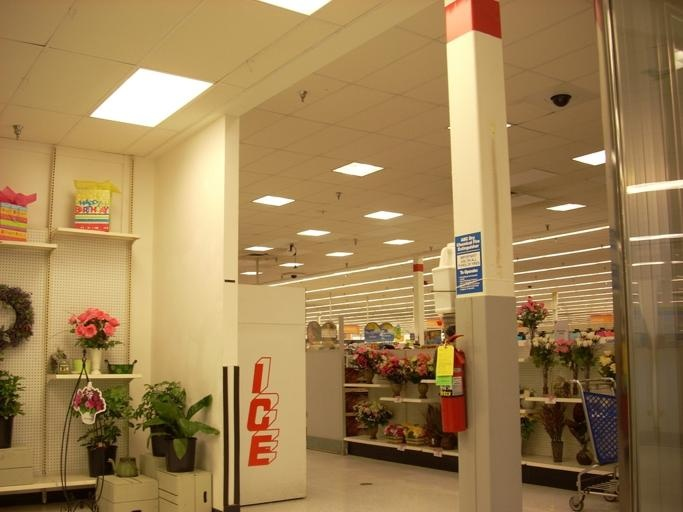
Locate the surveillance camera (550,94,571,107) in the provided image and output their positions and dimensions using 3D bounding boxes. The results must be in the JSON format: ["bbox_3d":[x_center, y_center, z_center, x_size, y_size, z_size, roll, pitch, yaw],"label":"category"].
[{"bbox_3d":[2.720,-1.904,6.625,0.155,0.055,0.152,1,-9,-4],"label":"surveillance camera"}]

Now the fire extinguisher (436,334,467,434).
[{"bbox_3d":[0.699,0.792,3.398,0.196,0.594,0.188,0,-16,6],"label":"fire extinguisher"}]

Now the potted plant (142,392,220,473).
[{"bbox_3d":[-1.659,1.784,5.377,0.727,0.700,0.848,-9,-13,0],"label":"potted plant"}]

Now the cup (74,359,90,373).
[{"bbox_3d":[-2.803,1.188,5.795,0.160,0.118,0.148,0,-3,0],"label":"cup"}]

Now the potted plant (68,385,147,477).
[{"bbox_3d":[-2.630,1.889,5.727,0.658,0.903,0.678,-18,-20,22],"label":"potted plant"}]

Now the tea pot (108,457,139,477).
[{"bbox_3d":[-2.246,2.221,5.555,0.308,0.190,0.208,1,-20,-3],"label":"tea pot"}]

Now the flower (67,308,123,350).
[{"bbox_3d":[-2.748,0.837,5.976,0.516,0.486,0.509,15,16,29],"label":"flower"}]

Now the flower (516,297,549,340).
[{"bbox_3d":[2.357,0.790,6.636,0.349,0.452,0.364,-1,-18,17],"label":"flower"}]
